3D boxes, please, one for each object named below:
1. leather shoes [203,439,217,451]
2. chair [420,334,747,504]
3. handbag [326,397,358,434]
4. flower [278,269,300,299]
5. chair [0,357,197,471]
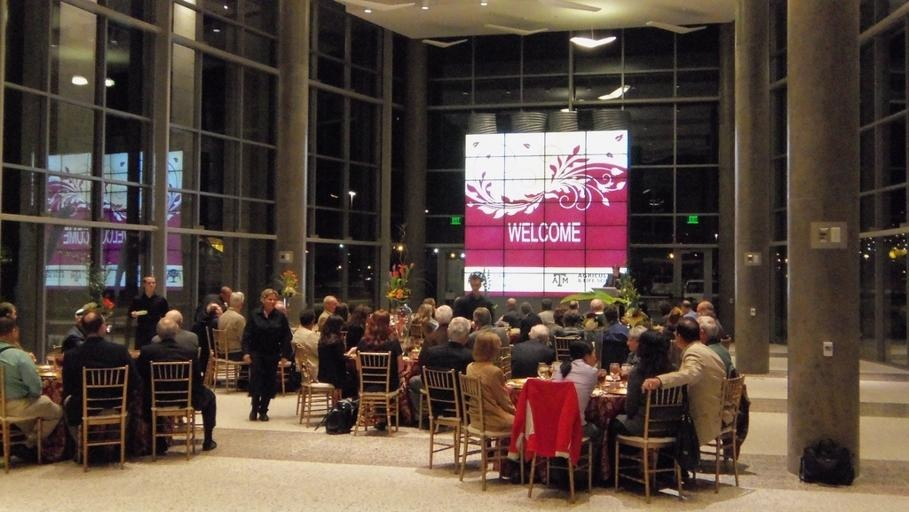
[{"bbox_3d":[-4.597,3.552,14.318,0.140,0.241,0.274,2,1,20],"label":"leather shoes"},{"bbox_3d":[3.224,2.795,13.752,3.628,1.981,2.815,1,-6,23],"label":"chair"},{"bbox_3d":[-2.248,3.172,15.149,0.737,0.608,0.586,3,-8,3],"label":"handbag"},{"bbox_3d":[-4.659,0.810,21.547,0.566,0.589,0.604,17,37,17],"label":"flower"},{"bbox_3d":[-6.511,2.842,13.722,2.319,1.299,0.764,0,2,-12],"label":"chair"}]
